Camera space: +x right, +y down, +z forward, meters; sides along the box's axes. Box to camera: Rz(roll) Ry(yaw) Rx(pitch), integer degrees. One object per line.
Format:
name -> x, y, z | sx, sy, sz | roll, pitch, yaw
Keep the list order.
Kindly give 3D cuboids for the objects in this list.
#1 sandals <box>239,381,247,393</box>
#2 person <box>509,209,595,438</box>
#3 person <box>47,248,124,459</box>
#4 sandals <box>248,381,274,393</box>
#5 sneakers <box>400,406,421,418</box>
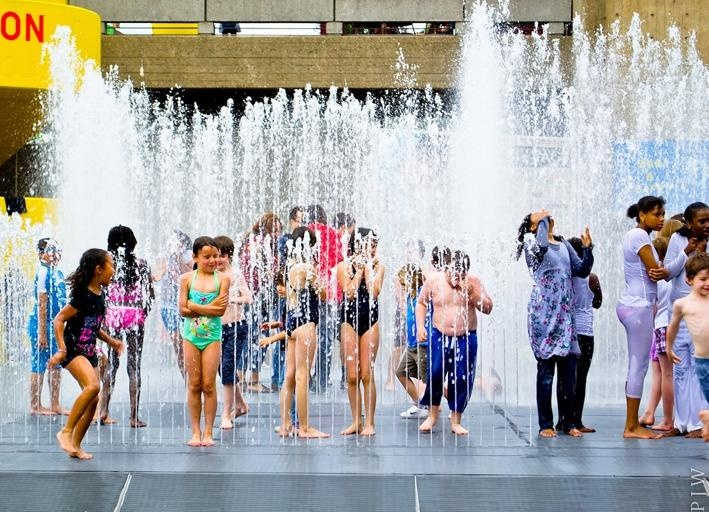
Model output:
sandals -> -1.617, 1.908, 19.204 | 0.112, 0.180, 0.168 | 1, 3, 0
person -> 2.635, 0.851, 17.007 | 0.940, 2.908, 0.651 | -1, 5, 7
person -> -3.394, 1.193, 16.225 | 0.482, 2.534, 0.740 | 2, 6, 31
sandals -> -1.367, 1.890, 19.083 | 0.408, 0.209, 0.153 | 0, 1, -4
sneakers -> 0.803, 2.136, 17.959 | 0.305, 0.172, 0.126 | 1, 1, -5
